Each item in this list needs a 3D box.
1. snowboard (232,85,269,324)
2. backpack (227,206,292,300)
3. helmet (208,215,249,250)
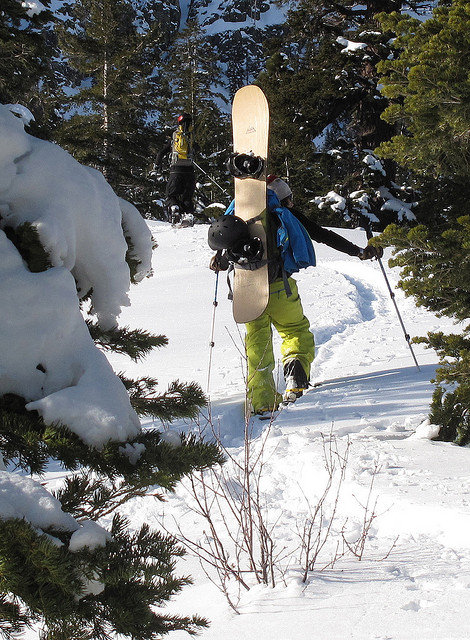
[{"bbox_3d":[0.116,-0.979,5.296,0.341,1.815,0.093,-3,-20,23],"label":"snowboard"},{"bbox_3d":[0.241,-0.475,5.062,0.423,0.666,0.138,-1,1,28],"label":"backpack"},{"bbox_3d":[-0.077,-0.626,4.974,0.304,0.203,0.221,6,-34,-29],"label":"helmet"}]
